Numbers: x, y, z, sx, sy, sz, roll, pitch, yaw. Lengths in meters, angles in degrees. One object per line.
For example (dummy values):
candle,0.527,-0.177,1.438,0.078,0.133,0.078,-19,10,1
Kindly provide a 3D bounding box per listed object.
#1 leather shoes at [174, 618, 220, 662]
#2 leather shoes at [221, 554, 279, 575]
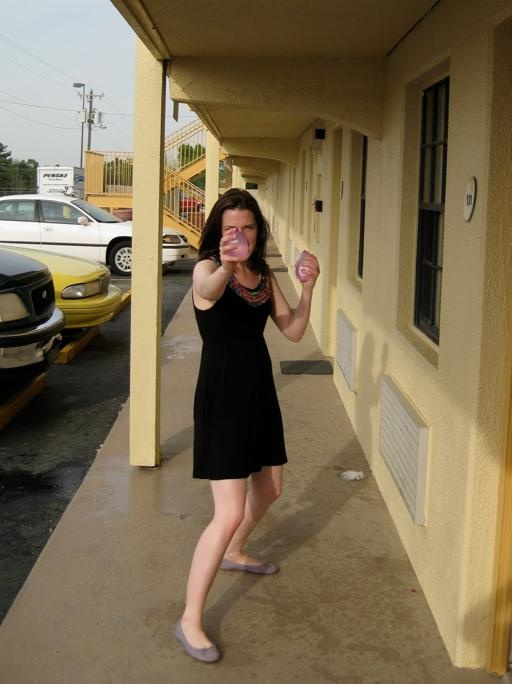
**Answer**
leather shoes,-0.217,1.038,1.744,0.072,0.065,0.150,10,-4,-44
leather shoes,-0.034,1.039,2.368,0.276,0.083,0.106,0,-2,1
